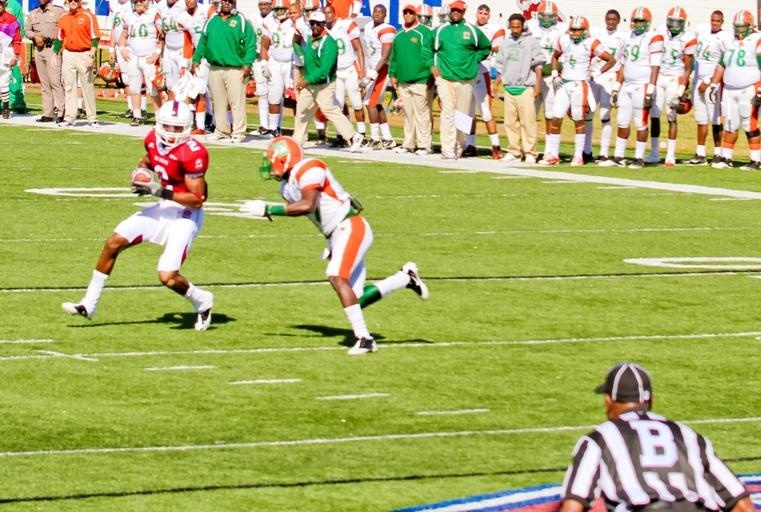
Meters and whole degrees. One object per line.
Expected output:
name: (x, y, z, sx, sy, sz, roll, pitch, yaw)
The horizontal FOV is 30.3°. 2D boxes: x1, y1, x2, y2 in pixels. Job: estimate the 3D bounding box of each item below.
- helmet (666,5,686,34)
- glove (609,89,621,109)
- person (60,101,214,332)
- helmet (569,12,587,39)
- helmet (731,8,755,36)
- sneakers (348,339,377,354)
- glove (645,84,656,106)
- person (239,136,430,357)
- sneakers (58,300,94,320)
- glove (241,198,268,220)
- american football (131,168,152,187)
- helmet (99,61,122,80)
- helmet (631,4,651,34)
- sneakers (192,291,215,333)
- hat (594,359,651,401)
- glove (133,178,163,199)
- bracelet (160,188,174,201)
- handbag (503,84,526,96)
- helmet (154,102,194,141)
helmet: (4.334, -3.538, 20.763, 0.366, 0.381, 0.446, 8, 34, 19)
glove: (3.411, -2.337, 20.574, 0.168, 0.188, 0.081, 3, 1, -38)
person: (-1.967, -0.360, 12.181, 1.147, 2.001, 0.846, -3, 8, -30)
helmet: (2.852, -3.332, 20.264, 0.280, 0.347, 0.411, 1, 6, 6)
helmet: (5.222, -3.383, 20.243, 0.296, 0.375, 0.534, 2, 7, 13)
sneakers: (-0.183, 0.748, 11.696, 0.289, 0.119, 0.102, -6, 15, -27)
glove: (3.917, -2.376, 20.472, 0.140, 0.336, 0.410, 2, 7, 14)
person: (-0.406, -0.099, 11.829, 1.447, 1.807, 0.654, 0, 6, 0)
sneakers: (-2.574, 0.466, 12.005, 0.154, 0.090, 0.243, 21, 0, 43)
glove: (-1.042, -0.397, 11.712, 0.207, 0.164, 0.501, 0, 6, -6)
american football: (-2.037, -0.666, 11.922, 0.175, 0.125, 0.163, -1, -30, -47)
helmet: (-4.760, -3.343, 24.974, 0.356, 0.189, 0.433, 5, 1, -4)
helmet: (3.807, -3.481, 20.597, 0.262, 0.416, 0.450, 1, 7, 9)
sneakers: (-1.503, 0.474, 12.160, 0.151, 0.363, 0.173, 6, 18, 15)
hat: (1.396, 0.726, 8.161, 0.285, 0.139, 0.203, 13, 20, 39)
glove: (-1.947, -0.580, 11.896, 0.205, 0.093, 0.142, 8, 11, -2)
bracelet: (-1.797, -0.528, 11.904, 0.100, 0.061, 0.090, 7, 13, -9)
handbag: (1.943, -2.438, 20.433, 0.105, 0.141, 0.405, -5, 9, -41)
helmet: (-1.728, -1.162, 12.006, 0.303, 0.273, 0.369, 1, 17, -3)
